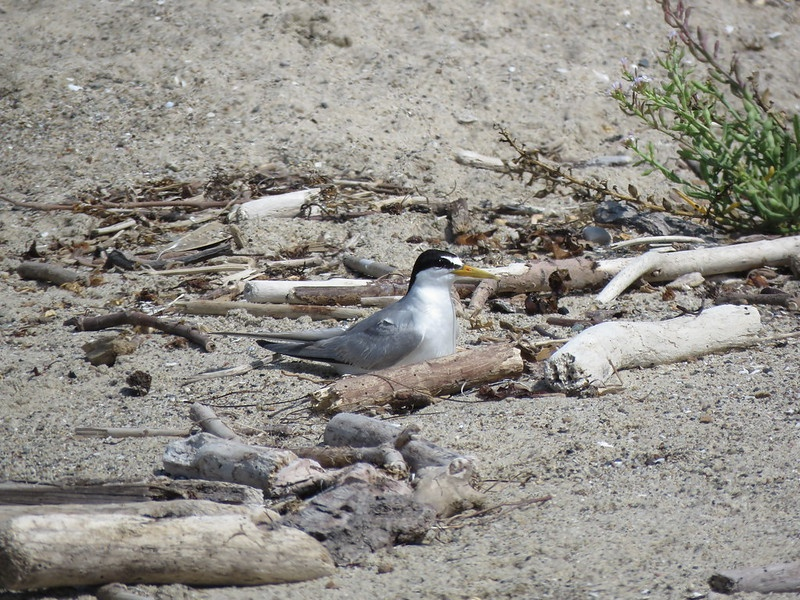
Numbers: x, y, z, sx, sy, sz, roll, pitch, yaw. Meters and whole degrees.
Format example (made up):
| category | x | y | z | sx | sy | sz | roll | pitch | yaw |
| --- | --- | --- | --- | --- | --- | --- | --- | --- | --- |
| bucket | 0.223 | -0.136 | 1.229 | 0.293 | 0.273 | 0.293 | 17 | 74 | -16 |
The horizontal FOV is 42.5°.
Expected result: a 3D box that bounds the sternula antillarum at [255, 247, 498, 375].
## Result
| category | x | y | z | sx | sy | sz | roll | pitch | yaw |
| --- | --- | --- | --- | --- | --- | --- | --- | --- | --- |
| sternula antillarum | -0.002 | 0.134 | 7.849 | 1.049 | 1.029 | 0.898 | -21 | 47 | -42 |
